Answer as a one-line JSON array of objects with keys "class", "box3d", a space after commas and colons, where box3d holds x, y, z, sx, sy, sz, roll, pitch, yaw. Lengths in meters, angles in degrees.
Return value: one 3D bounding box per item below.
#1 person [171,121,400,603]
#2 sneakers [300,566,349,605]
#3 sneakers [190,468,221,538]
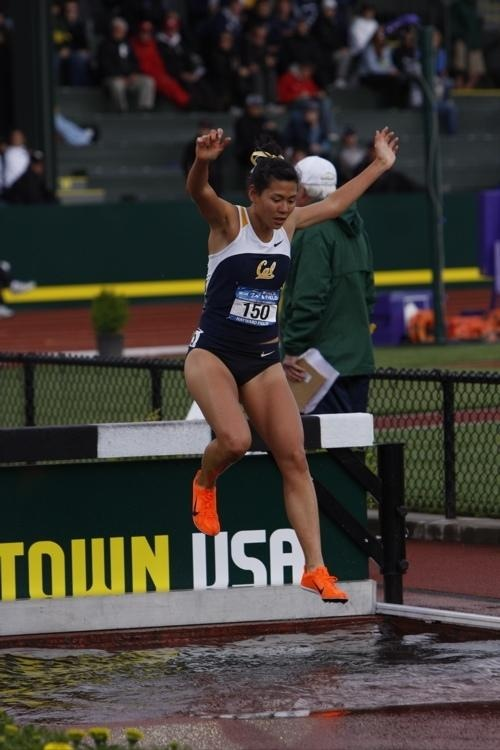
[{"class": "person", "box3d": [0.077, 0.015, 4.863, 0.660, 1.787, 0.999, -2, 6, 4]}, {"class": "sneakers", "box3d": [0.277, 0.743, 4.681, 0.082, 0.106, 0.239, 0, 6, -40]}, {"class": "sneakers", "box3d": [-0.172, 0.464, 4.870, 0.087, 0.248, 0.109, -4, -12, -24]}]
